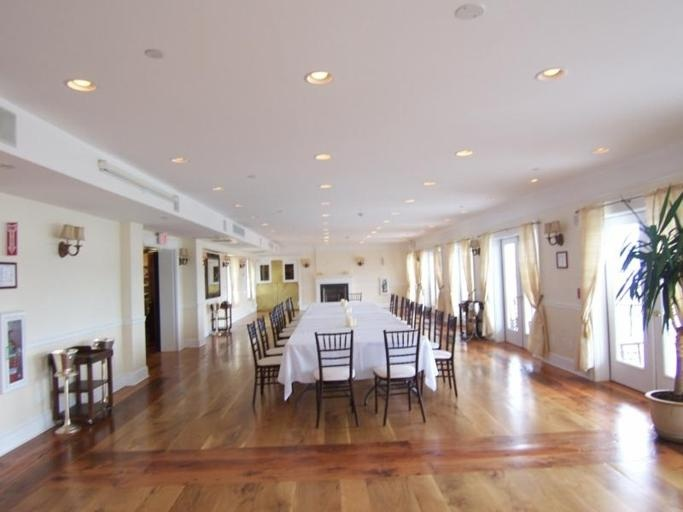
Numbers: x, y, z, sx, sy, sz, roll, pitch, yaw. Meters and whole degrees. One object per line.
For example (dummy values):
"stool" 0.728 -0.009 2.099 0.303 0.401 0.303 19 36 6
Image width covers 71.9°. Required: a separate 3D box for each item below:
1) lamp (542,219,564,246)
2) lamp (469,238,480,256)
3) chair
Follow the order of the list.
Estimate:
"lamp" 3.137 -0.356 6.979 0.208 0.422 0.351 5 -8 -10
"lamp" 2.729 -0.164 9.623 0.220 0.464 0.306 0 -3 0
"chair" 0.146 1.220 6.424 2.295 1.155 2.912 -3 9 -4
